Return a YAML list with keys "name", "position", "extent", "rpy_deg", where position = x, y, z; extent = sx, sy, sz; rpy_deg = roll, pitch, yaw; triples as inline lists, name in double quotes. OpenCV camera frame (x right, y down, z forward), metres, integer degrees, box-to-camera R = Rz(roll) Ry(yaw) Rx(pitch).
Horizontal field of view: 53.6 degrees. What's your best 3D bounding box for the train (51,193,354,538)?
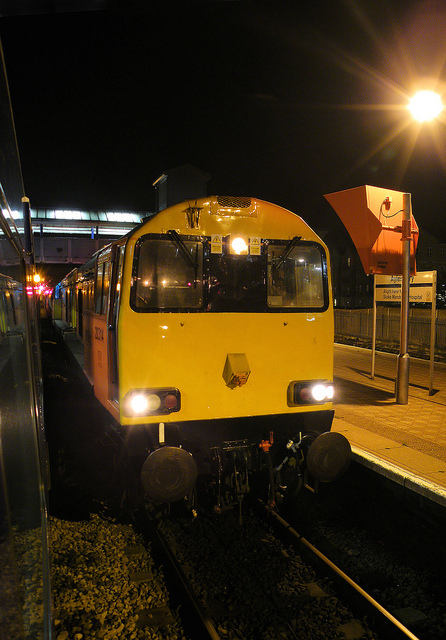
- name: "train"
  position: [-0.172, 0.375, 5.037]
  extent: [3.071, 3.492, 2.209]
  rpy_deg: [2, 0, -2]
